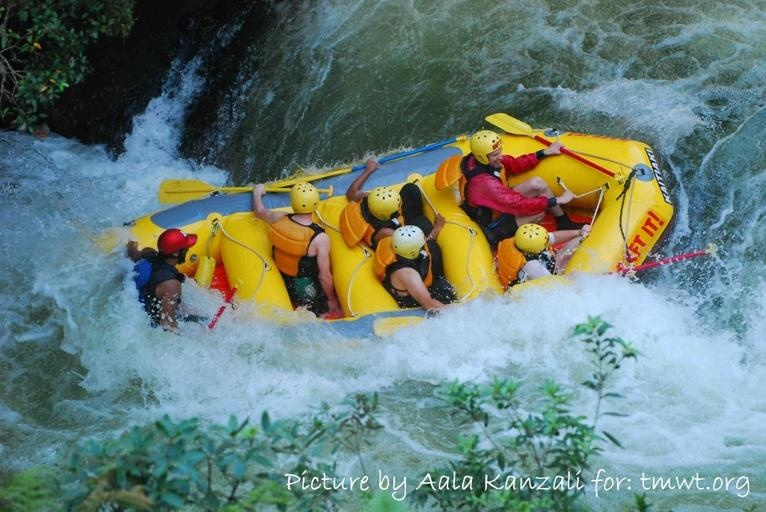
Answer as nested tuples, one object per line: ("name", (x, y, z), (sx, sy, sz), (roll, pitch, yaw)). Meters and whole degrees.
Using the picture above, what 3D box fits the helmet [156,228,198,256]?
("helmet", (-2.585, -0.180, 9.325), (0.444, 0.205, 0.281), (-12, 47, -37))

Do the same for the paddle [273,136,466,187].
("paddle", (-0.117, -1.404, 11.084), (3.221, 0.265, 0.270), (-13, 61, -1))

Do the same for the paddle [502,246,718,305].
("paddle", (2.798, 0.262, 9.360), (1.896, 0.294, 0.265), (-13, 19, -4))

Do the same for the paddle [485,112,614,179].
("paddle", (2.365, -1.532, 10.468), (2.277, 0.111, 0.395), (30, 76, 25))

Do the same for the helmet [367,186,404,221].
("helmet", (0.009, -0.678, 9.498), (0.413, 0.253, 0.416), (-41, 83, -2))

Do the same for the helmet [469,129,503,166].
("helmet", (1.376, -1.442, 9.915), (0.469, 0.456, 0.376), (-5, 32, 15))

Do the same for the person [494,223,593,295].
("person", (2.091, 0.061, 9.635), (1.289, 1.157, 0.794), (-5, 45, 19))

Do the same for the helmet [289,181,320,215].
("helmet", (-1.032, -0.730, 9.551), (0.327, 0.355, 0.405), (2, 31, -19))

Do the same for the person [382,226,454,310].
("person", (0.403, 0.186, 9.337), (0.532, 0.852, 0.592), (-15, 67, 16))

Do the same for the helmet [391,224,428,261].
("helmet", (0.302, -0.171, 9.236), (0.465, 0.346, 0.373), (-9, 40, -16))

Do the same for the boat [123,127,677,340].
("boat", (0.632, 0.189, 10.866), (6.293, 1.224, 3.025), (-13, 54, -3))

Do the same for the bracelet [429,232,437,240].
("bracelet", (0.660, -0.260, 9.880), (0.059, 0.102, 0.026), (26, 62, -30))
